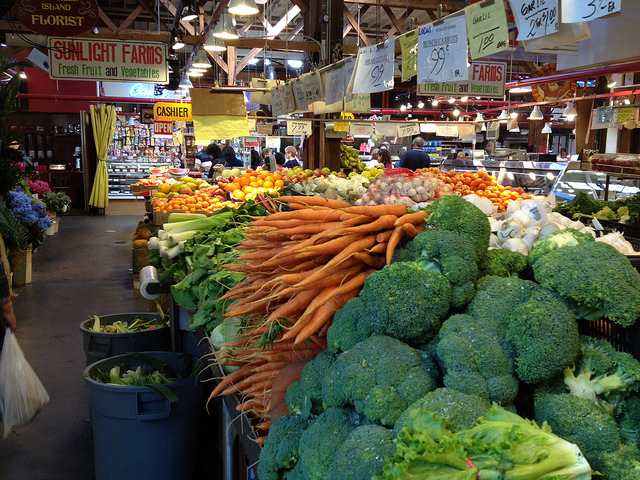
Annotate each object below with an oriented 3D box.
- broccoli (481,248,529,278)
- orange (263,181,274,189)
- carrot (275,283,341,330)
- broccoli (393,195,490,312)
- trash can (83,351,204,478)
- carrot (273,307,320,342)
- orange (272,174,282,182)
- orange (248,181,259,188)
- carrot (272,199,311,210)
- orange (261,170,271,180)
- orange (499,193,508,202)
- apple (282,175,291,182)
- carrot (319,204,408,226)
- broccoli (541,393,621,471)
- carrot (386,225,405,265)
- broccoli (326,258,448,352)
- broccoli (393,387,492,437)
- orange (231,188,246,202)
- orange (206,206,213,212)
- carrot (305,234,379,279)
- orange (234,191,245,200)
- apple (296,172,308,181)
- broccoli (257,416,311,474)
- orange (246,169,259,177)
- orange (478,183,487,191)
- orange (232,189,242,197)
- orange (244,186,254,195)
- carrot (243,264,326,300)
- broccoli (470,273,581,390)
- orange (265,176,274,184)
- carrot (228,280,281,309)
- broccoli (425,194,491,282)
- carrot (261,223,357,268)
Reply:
[{"bbox_3d":[0.662,0.076,1.578,0.157,0.087,0.130,0,-12,10],"label":"broccoli"},{"bbox_3d":[-0.602,-0.636,5.089,0.101,0.086,0.086,16,1,-14],"label":"orange"},{"bbox_3d":[-0.038,0.244,1.607,0.022,0.209,0.057,39,-2,38],"label":"carrot"},{"bbox_3d":[0.456,0.070,1.584,0.298,0.215,0.401,40,41,21],"label":"broccoli"},{"bbox_3d":[-0.938,0.993,2.680,0.731,0.813,0.750,-1,-1,-2],"label":"trash can"},{"bbox_3d":[-0.083,0.312,1.617,0.031,0.205,0.029,48,-1,30],"label":"carrot"},{"bbox_3d":[-0.505,-0.729,5.136,0.079,0.078,0.076,-7,13,-16],"label":"orange"},{"bbox_3d":[-0.775,-0.641,5.104,0.108,0.088,0.088,8,5,21],"label":"orange"},{"bbox_3d":[-0.132,-0.161,2.078,0.195,0.034,0.033,14,-9,3],"label":"carrot"},{"bbox_3d":[-0.661,-0.775,5.204,0.094,0.095,0.114,15,7,-13],"label":"orange"},{"bbox_3d":[1.812,-0.423,4.260,0.079,0.043,0.082,-22,26,7],"label":"orange"},{"bbox_3d":[-0.378,-0.721,4.971,0.100,0.067,0.120,2,15,-12],"label":"apple"},{"bbox_3d":[0.183,-0.095,1.763,0.384,0.102,0.079,-1,-4,1],"label":"carrot"},{"bbox_3d":[0.702,0.498,1.205,0.210,0.100,0.169,43,-6,37],"label":"broccoli"},{"bbox_3d":[0.268,0.007,1.563,0.038,0.169,0.048,6,-27,45],"label":"carrot"},{"bbox_3d":[0.195,0.210,1.382,0.342,0.192,0.265,-11,-8,32],"label":"broccoli"},{"bbox_3d":[0.346,0.415,1.085,0.227,0.054,0.099,-5,14,-21],"label":"broccoli"},{"bbox_3d":[-0.950,-0.536,5.094,0.148,0.150,0.142,-17,-6,-5],"label":"orange"},{"bbox_3d":[-1.279,-0.362,5.054,0.055,0.031,0.056,-6,14,12],"label":"orange"},{"bbox_3d":[0.059,0.029,1.710,0.068,0.074,0.365,-24,-3,-37],"label":"carrot"},{"bbox_3d":[-0.926,-0.515,5.028,0.098,0.097,0.094,-4,46,-12],"label":"orange"},{"bbox_3d":[-0.178,-0.622,4.270,0.087,0.087,0.104,0,-16,-22],"label":"apple"},{"bbox_3d":[-0.109,0.622,1.315,0.088,0.140,0.173,12,-25,-20],"label":"broccoli"},{"bbox_3d":[-0.811,-0.784,5.273,0.111,0.043,0.111,24,0,29],"label":"orange"},{"bbox_3d":[1.676,-0.545,4.465,0.081,0.069,0.070,15,60,35],"label":"orange"},{"bbox_3d":[-0.990,-0.568,5.127,0.084,0.086,0.099,14,-37,-35],"label":"orange"},{"bbox_3d":[-0.816,-0.565,4.991,0.077,0.078,0.090,2,16,6],"label":"orange"},{"bbox_3d":[-0.128,0.167,1.706,0.363,0.042,0.042,-17,29,-6],"label":"carrot"},{"bbox_3d":[0.600,0.295,1.388,0.276,0.171,0.346,-49,38,-13],"label":"broccoli"},{"bbox_3d":[-0.601,-0.706,5.147,0.080,0.081,0.095,-1,8,-27],"label":"orange"},{"bbox_3d":[-0.280,0.214,1.737,0.248,0.037,0.039,-16,-3,4],"label":"carrot"},{"bbox_3d":[0.519,-0.010,1.685,0.273,0.277,0.224,12,-32,21],"label":"broccoli"},{"bbox_3d":[-0.031,0.023,1.721,0.315,0.033,0.055,-27,-35,32],"label":"carrot"}]
